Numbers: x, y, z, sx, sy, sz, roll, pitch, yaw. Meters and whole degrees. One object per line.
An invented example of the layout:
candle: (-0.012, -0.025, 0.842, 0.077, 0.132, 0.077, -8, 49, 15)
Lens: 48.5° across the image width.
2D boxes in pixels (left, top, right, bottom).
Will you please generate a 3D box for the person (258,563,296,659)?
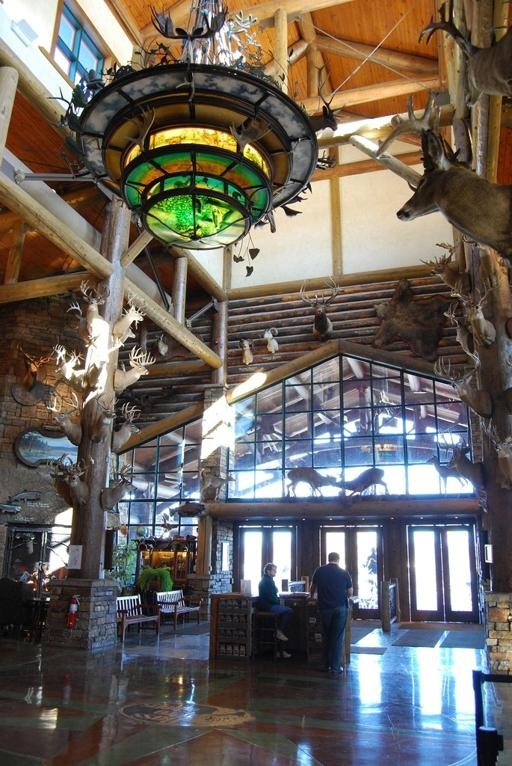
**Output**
person: (0.238, 2.821, 7.277, 0.495, 1.014, 0.362, 4, -11, -1)

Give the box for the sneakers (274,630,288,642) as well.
sneakers: (0.316, 3.157, 7.095, 0.118, 0.163, 0.348, -2, -18, 8)

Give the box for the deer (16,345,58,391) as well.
deer: (-4.851, -0.332, 12.500, 0.899, 0.955, 0.694, 6, -14, -30)

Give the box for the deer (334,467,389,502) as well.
deer: (2.193, 2.071, 11.780, 1.015, 0.592, 0.541, -2, -18, 9)

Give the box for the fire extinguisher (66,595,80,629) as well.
fire extinguisher: (-2.456, 3.072, 7.634, 0.143, 0.422, 0.260, 6, -19, -16)

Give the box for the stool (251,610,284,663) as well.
stool: (0.151, 3.144, 7.161, 0.371, 0.542, 0.539, -2, -18, 8)

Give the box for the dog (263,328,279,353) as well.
dog: (0.327, -1.027, 13.450, 0.344, 0.526, 0.472, -1, -18, 6)

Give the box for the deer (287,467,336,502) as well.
deer: (1.182, 2.091, 12.180, 1.036, 0.563, 0.307, -6, -20, 19)

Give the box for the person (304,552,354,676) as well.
person: (0.823, 2.468, 6.168, 0.398, 1.208, 0.379, -2, -19, 7)

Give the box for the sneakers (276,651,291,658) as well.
sneakers: (0.334, 3.350, 7.033, 0.185, 0.069, 0.069, 0, -13, 7)

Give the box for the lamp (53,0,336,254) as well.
lamp: (-0.342, -1.824, 3.534, 1.596, 1.964, 1.163, 2, -19, -5)

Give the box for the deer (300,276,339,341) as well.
deer: (1.464, -1.784, 13.178, 0.913, 1.456, 0.646, -4, -19, 14)

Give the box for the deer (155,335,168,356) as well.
deer: (-2.246, -0.898, 13.343, 0.154, 0.427, 0.279, 0, 11, 41)

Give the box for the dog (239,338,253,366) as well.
dog: (-0.257, -0.760, 13.687, 0.308, 0.582, 0.363, -6, -20, 19)

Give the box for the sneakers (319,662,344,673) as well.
sneakers: (0.790, 3.080, 6.114, 0.196, 0.068, 0.153, -17, -27, 37)
